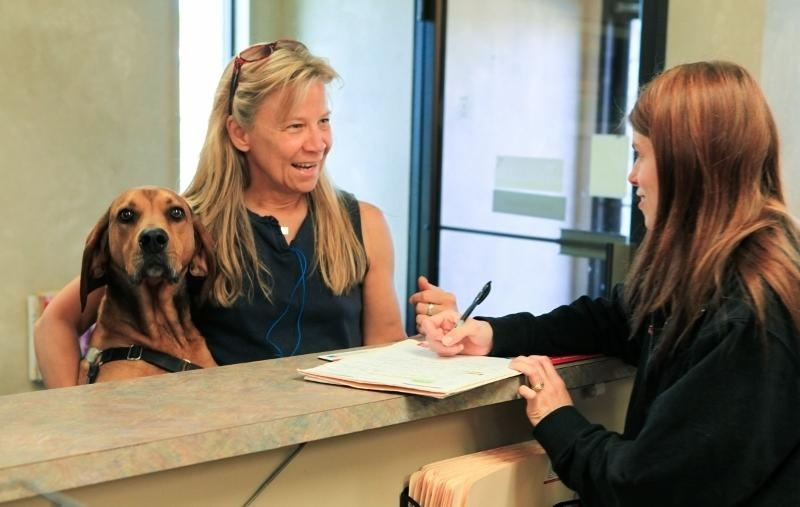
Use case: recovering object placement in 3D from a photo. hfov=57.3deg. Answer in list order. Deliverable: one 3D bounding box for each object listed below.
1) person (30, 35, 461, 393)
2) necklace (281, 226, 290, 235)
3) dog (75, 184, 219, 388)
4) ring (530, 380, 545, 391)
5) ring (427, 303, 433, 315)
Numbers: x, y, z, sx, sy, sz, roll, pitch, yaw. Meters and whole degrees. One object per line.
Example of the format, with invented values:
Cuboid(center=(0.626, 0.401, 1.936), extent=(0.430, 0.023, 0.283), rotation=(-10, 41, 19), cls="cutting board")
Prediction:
Cuboid(center=(-0.481, -0.066, 2.615), extent=(1.428, 1.216, 0.734), rotation=(3, 0, -10), cls="person")
Cuboid(center=(-0.409, -0.083, 2.644), extent=(0.031, 0.028, 0.030), rotation=(2, 5, 0), cls="necklace")
Cuboid(center=(-0.818, 0.100, 2.351), extent=(0.419, 0.623, 0.203), rotation=(-4, 7, -24), cls="dog")
Cuboid(center=(0.356, 0.334, 1.869), extent=(0.021, 0.014, 0.024), rotation=(-20, 31, 6), cls="ring")
Cuboid(center=(0.095, 0.175, 2.302), extent=(0.027, 0.027, 0.027), rotation=(-2, 24, 1), cls="ring")
